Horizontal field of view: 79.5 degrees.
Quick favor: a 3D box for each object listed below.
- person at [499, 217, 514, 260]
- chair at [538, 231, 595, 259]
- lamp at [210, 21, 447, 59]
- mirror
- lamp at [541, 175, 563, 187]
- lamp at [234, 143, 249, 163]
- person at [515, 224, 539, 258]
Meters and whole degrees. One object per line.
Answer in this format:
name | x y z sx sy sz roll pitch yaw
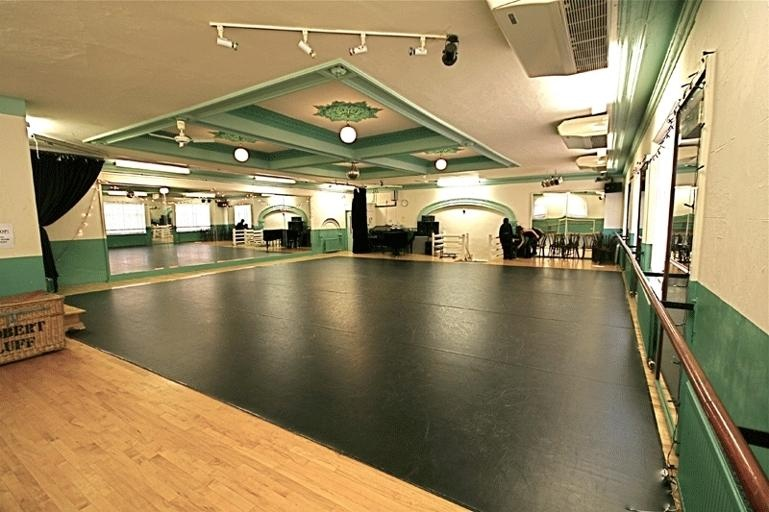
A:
person | 3.894 -0.583 14.694 0.436 1.275 0.879 4 10 28
chair | 5.973 -0.345 15.075 1.258 0.706 1.237 2 -2 -42
lamp | -0.586 -2.353 5.112 2.540 0.297 0.343 -1 8 -2
mirror | 3.092 -0.210 5.133 0.177 2.264 4.040 3 8 23
lamp | 5.118 -2.256 14.020 0.615 0.233 0.451 -12 4 -40
lamp | -3.078 -2.204 9.946 0.251 0.292 0.489 -5 8 -22
person | 4.611 -0.479 15.003 0.875 1.001 0.400 -5 10 -25
